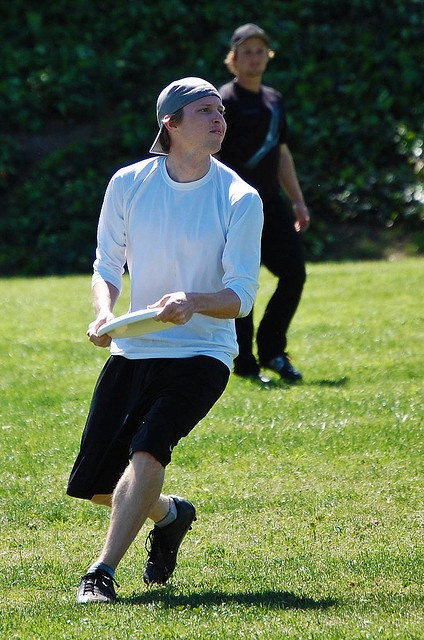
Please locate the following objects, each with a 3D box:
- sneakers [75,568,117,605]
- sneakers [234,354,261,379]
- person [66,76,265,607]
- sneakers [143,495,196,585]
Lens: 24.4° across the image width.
[{"bbox_3d":[-0.384,0.895,3.284,0.128,0.135,0.112,3,8,-6],"label":"sneakers"},{"bbox_3d":[0.234,0.296,6.466,0.163,0.141,0.268,5,7,4],"label":"sneakers"},{"bbox_3d":[-0.176,0.051,3.584,0.657,1.916,0.875,4,8,2],"label":"person"},{"bbox_3d":[-0.159,0.854,3.789,0.134,0.355,0.147,15,-11,26],"label":"sneakers"}]
